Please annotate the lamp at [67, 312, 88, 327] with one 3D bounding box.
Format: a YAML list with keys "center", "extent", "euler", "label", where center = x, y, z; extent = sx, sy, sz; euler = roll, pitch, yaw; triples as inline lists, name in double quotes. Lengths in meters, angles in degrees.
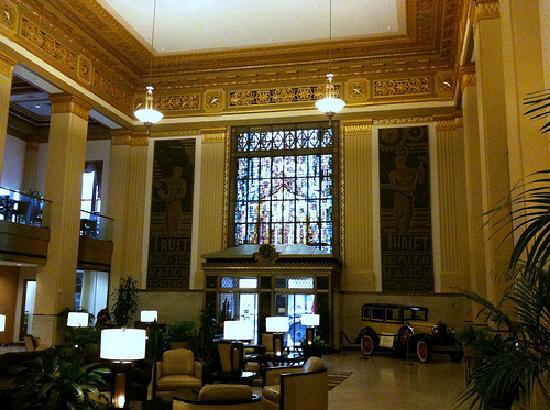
- center: [-4.866, 2.833, 12.089]
  extent: [0.451, 0.357, 0.695]
  euler: [4, -13, -23]
  label: "lamp"

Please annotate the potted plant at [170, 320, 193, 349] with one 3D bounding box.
- center: [-2.078, 2.861, 10.699]
  extent: [0.511, 0.615, 0.613]
  euler: [-1, -5, 10]
  label: "potted plant"

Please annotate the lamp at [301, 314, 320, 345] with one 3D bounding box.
- center: [0.845, 3.084, 12.007]
  extent: [0.492, 0.742, 0.479]
  euler: [8, -24, -15]
  label: "lamp"

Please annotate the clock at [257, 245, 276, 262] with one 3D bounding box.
- center: [-0.309, 1.608, 16.163]
  extent: [0.553, 0.482, 0.080]
  euler: [3, -5, 6]
  label: "clock"

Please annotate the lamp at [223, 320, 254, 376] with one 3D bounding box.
- center: [-0.703, 2.643, 9.259]
  extent: [0.492, 0.903, 1.094]
  euler: [0, -12, -3]
  label: "lamp"

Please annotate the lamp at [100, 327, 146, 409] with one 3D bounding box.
- center: [-1.961, 2.082, 6.269]
  extent: [0.521, 1.010, 0.392]
  euler: [0, -13, -4]
  label: "lamp"
